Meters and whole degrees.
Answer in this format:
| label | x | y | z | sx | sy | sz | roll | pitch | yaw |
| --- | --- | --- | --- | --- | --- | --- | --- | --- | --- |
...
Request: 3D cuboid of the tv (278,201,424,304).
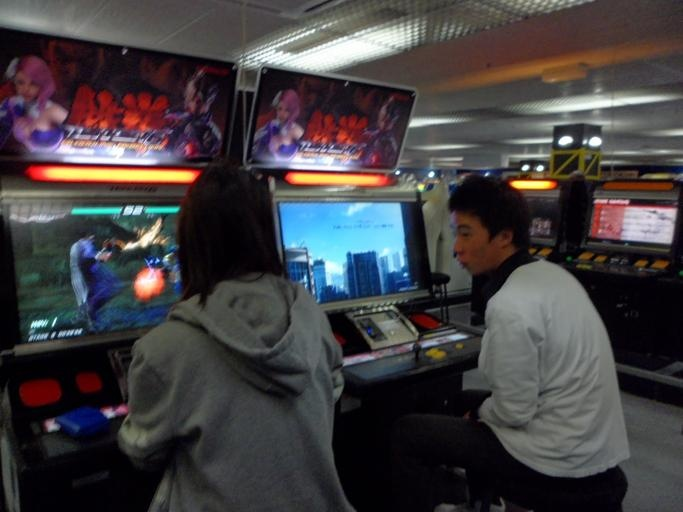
| label | x | y | z | sx | sy | sz | roll | pitch | yaw |
| --- | --- | --- | --- | --- | --- | --- | --- | --- | --- |
| tv | 0.026 | -0.002 | 2.366 | 0.571 | 0.360 | 0.075 | -7 | -2 | -21 |
